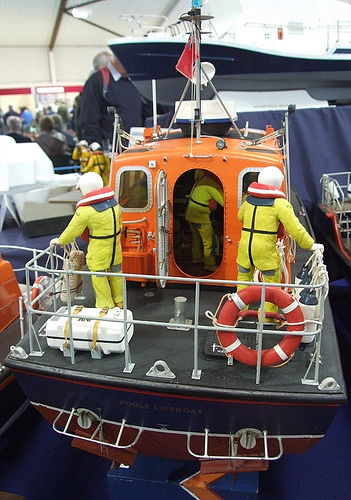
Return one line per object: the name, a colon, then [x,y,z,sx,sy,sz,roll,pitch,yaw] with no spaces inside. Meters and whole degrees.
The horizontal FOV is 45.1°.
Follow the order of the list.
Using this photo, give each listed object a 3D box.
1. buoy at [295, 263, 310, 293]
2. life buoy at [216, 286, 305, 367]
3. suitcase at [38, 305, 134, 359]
buoy: [0.962,0.217,3.220,0.096,0.262,0.097,20,50,24]
life buoy: [0.547,0.456,2.636,0.589,0.141,0.609,3,32,25]
suitcase: [-0.601,0.539,2.875,0.512,0.252,0.357,4,28,7]
